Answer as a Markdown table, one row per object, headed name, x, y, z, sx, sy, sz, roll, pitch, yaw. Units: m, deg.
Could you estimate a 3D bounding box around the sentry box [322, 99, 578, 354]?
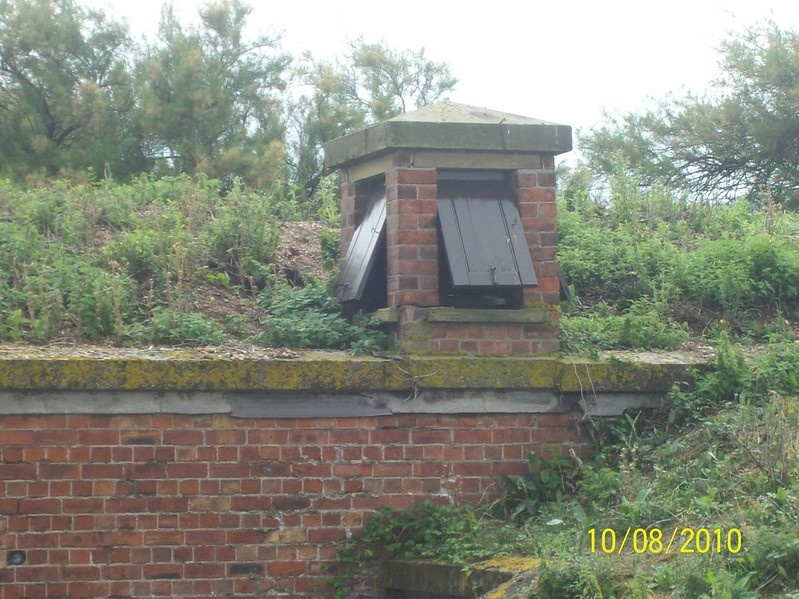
| name | x | y | z | sx | sy | sz | roll | pitch | yaw |
| --- | --- | --- | --- | --- | --- | --- | --- | --- | --- |
| sentry box | 0.547 | -0.911 | 16.997 | 2.807 | 2.920 | 2.852 | -1 | 1 | 1 |
